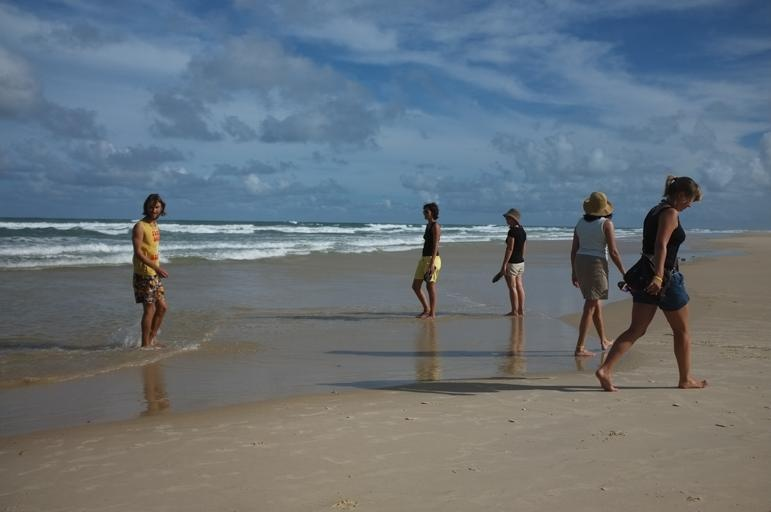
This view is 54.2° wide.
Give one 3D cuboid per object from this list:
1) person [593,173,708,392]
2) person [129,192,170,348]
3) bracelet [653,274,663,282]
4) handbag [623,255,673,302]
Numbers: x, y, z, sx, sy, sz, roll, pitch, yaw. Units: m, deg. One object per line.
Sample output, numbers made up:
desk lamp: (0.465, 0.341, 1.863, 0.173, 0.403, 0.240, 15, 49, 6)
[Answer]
person: (3.026, 0.341, 8.382, 1.089, 2.565, 0.893, 4, 15, 21)
person: (-3.252, 0.201, 10.470, 0.495, 2.210, 0.710, -6, 15, -18)
bracelet: (2.990, 0.253, 8.276, 0.074, 0.072, 0.018, 18, 46, 21)
handbag: (2.815, 0.254, 8.421, 0.604, 0.557, 0.408, 14, 4, 15)
